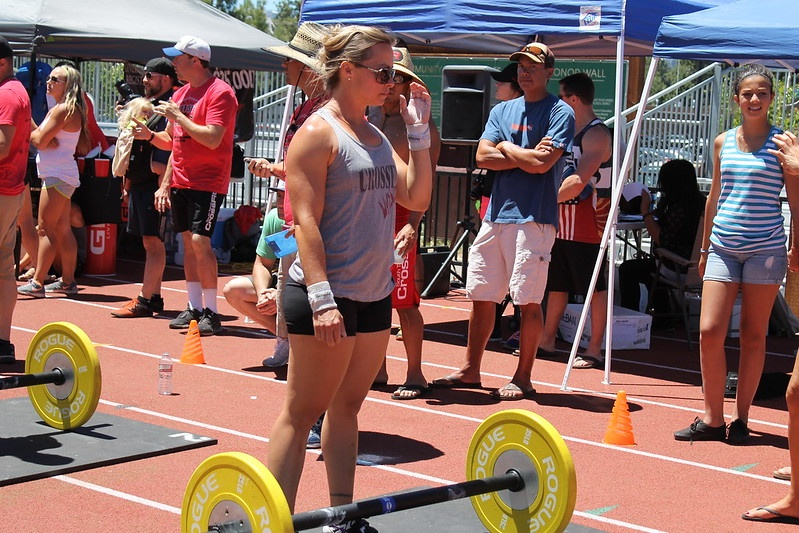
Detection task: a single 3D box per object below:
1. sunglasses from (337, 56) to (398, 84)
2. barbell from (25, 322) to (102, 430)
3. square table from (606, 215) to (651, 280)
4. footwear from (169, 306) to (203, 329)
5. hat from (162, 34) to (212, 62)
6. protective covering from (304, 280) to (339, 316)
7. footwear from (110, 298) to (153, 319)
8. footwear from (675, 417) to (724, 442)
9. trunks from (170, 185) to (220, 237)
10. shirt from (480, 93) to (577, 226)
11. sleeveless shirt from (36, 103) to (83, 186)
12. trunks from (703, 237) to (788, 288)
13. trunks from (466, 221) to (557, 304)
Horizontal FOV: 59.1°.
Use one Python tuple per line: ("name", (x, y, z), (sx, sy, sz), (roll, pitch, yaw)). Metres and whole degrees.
("sunglasses", (-0.128, -0.979, 3.564), (0.160, 0.052, 0.153), (18, 11, 7))
("barbell", (-2.541, 0.862, 5.303), (0.766, 0.794, 0.129), (3, 4, 43))
("square table", (3.270, -0.253, 10.069), (0.845, 0.832, 0.868), (3, 6, 37))
("footwear", (-2.655, 0.652, 8.718), (0.548, 0.238, 0.209), (0, -2, -29))
("hat", (-2.549, -2.604, 8.412), (0.490, 0.257, 0.348), (2, 17, -12))
("protective covering", (-0.375, 0.149, 3.442), (0.141, 0.149, 0.145), (-14, -7, -37))
("footwear", (-3.489, 0.549, 9.252), (0.561, 0.246, 0.202), (0, 3, -19))
("footwear", (2.544, 1.396, 6.007), (0.397, 0.186, 0.175), (1, -2, 3))
("trunks", (-2.437, -0.677, 8.374), (0.576, 0.534, 0.345), (6, 0, 29))
("shirt", (1.166, -1.001, 6.626), (0.828, 1.245, 0.515), (8, 6, 16))
("sleeveless shirt", (-4.641, -1.557, 9.606), (0.521, 0.916, 0.468), (3, 7, -28))
("trunks", (2.788, 0.010, 5.641), (0.554, 0.404, 0.324), (3, -6, 16))
("trunks", (1.063, -0.035, 6.648), (0.734, 0.860, 0.449), (-7, -22, 44))
